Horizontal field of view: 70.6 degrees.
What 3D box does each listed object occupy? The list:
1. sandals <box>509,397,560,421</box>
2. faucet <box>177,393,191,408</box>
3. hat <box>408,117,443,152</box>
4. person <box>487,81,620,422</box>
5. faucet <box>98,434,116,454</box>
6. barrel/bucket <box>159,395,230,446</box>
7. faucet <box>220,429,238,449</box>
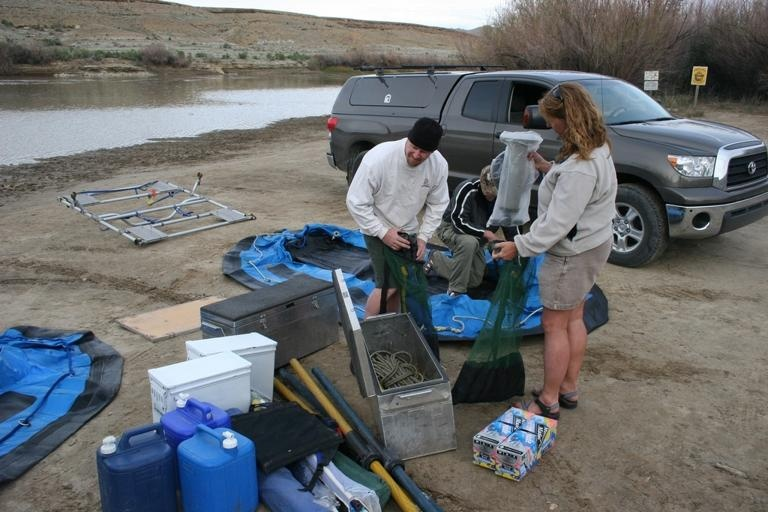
[{"bbox_3d":[1.328,1.296,4.713,0.399,0.122,0.178,10,13,28],"label":"sandals"},{"bbox_3d":[-1.491,1.066,4.035,0.129,0.104,0.071,10,1,-29],"label":"faucet"},{"bbox_3d":[0.378,-1.090,4.902,0.310,0.238,0.304,28,17,-8],"label":"hat"},{"bbox_3d":[1.434,0.021,4.482,0.767,2.744,0.906,9,26,24],"label":"person"},{"bbox_3d":[-1.868,1.271,3.714,0.136,0.095,0.122,0,4,-10],"label":"faucet"},{"bbox_3d":[-1.414,1.181,4.047,0.458,0.379,0.381,10,10,42],"label":"barrel/bucket"},{"bbox_3d":[-1.063,1.264,3.750,0.101,0.085,0.127,-8,22,-16],"label":"faucet"}]
